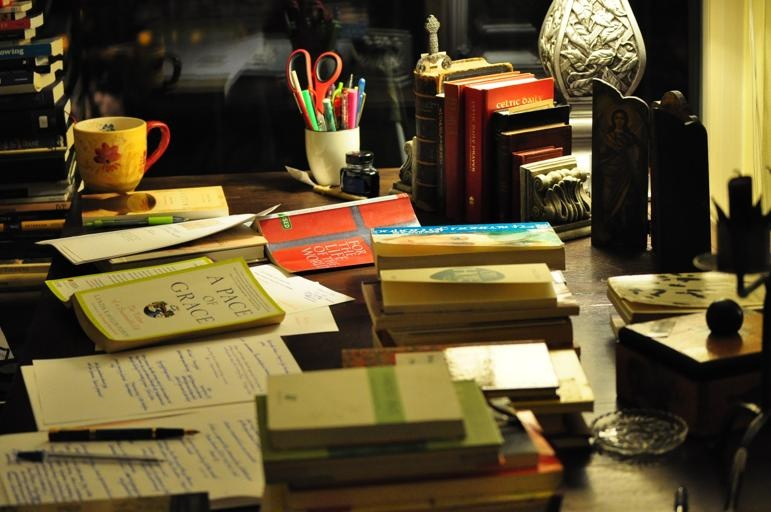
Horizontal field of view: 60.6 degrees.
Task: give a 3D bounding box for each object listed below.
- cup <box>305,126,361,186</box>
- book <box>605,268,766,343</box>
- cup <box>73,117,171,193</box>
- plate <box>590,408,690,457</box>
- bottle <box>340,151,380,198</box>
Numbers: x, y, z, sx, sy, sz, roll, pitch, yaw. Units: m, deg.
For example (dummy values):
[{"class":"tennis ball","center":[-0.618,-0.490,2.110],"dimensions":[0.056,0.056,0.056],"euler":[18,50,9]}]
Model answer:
[{"class":"cup","center":[-0.106,-0.213,1.426],"dimensions":[0.111,0.115,0.123],"euler":[0,9,-2]},{"class":"book","center":[0.374,0.050,0.842],"dimensions":[0.171,0.032,0.112],"euler":[-10,22,-6]},{"class":"cup","center":[-0.531,-0.189,1.334],"dimensions":[0.210,0.135,0.152],"euler":[-6,13,-29]},{"class":"plate","center":[0.253,0.177,0.662],"dimensions":[0.088,0.014,0.074],"euler":[8,27,32]},{"class":"bottle","center":[-0.054,-0.159,1.311],"dimensions":[0.085,0.087,0.056],"euler":[11,23,25]}]
